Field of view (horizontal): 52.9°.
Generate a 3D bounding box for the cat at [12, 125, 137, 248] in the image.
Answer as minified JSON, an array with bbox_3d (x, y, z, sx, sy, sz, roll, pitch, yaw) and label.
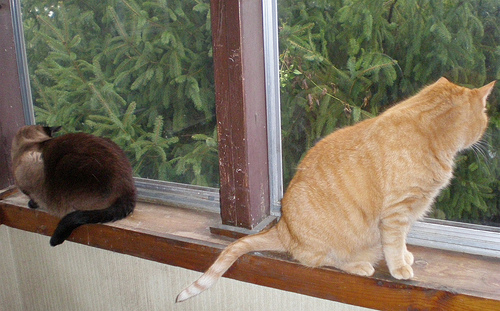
[{"bbox_3d":[-0.937,0.150,2.575,0.738,0.508,0.356,8,20,17],"label":"cat"}]
